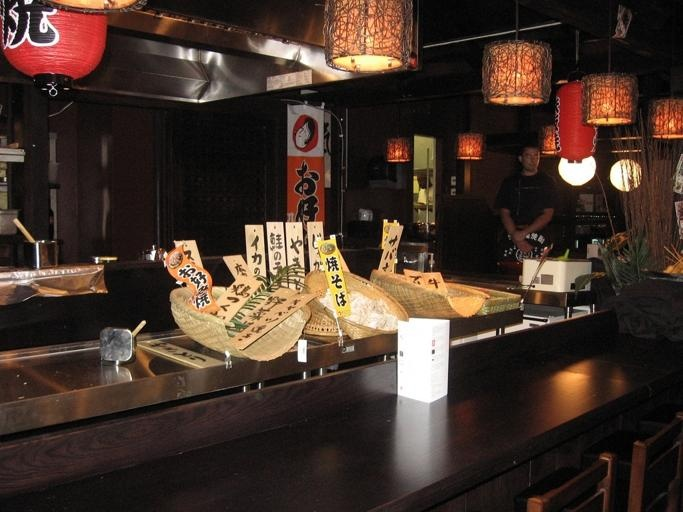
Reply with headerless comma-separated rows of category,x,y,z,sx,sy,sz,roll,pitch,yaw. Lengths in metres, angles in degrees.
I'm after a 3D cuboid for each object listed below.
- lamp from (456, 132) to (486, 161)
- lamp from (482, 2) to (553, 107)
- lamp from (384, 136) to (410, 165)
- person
lamp,1.799,-1.521,7.278,0.374,0.354,0.373,0,0,6
lamp,1.045,-1.129,3.109,0.376,0.401,0.242,1,6,16
lamp,0.857,-1.609,7.843,0.366,0.384,0.469,0,6,5
person,2.103,-0.618,5.941,0.651,1.323,0.545,1,6,16
